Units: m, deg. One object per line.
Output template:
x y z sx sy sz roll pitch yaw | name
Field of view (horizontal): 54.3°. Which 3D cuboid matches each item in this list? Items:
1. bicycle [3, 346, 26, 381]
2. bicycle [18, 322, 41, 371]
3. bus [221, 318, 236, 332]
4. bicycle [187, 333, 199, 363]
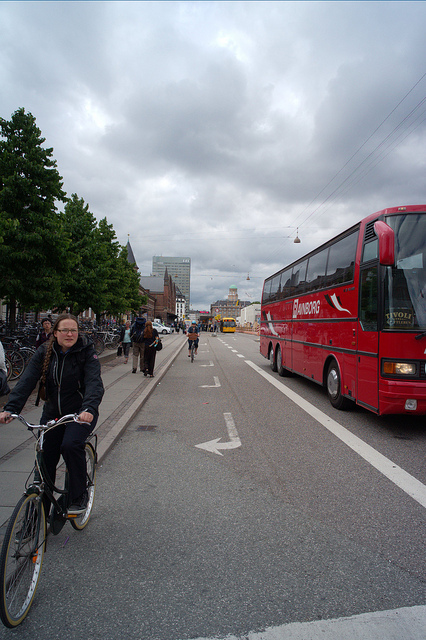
-4.780 1.056 10.076 0.448 0.721 0.891 -1 1 -28 | bicycle
-4.045 0.543 9.127 0.434 0.608 0.993 12 35 -23 | bicycle
2.728 0.995 72.402 1.403 2.417 3.325 -1 1 -35 | bus
-0.807 1.150 17.369 0.358 1.181 0.678 -1 2 -16 | bicycle
